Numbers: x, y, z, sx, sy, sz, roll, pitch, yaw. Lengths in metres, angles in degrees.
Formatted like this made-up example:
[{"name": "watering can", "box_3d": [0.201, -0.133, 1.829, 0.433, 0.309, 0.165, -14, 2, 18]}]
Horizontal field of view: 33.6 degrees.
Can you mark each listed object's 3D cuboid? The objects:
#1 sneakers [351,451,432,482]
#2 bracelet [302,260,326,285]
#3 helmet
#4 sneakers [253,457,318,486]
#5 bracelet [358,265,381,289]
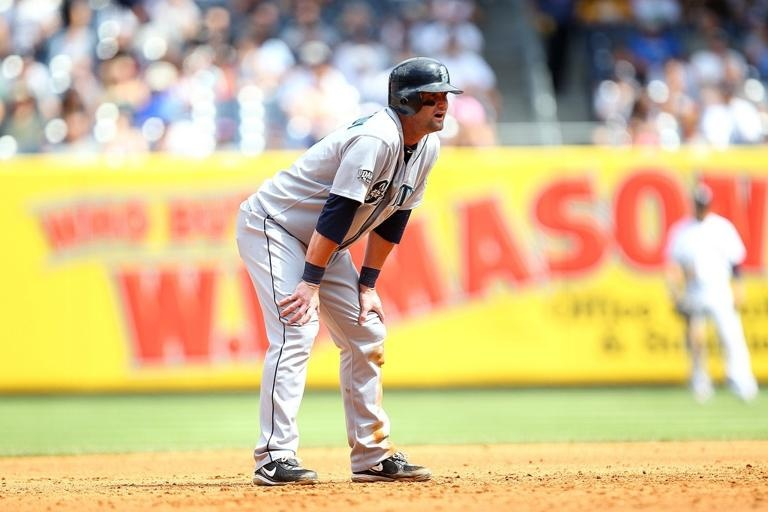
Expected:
[{"name": "sneakers", "box_3d": [0.061, 1.789, 10.856, 0.690, 0.276, 0.236, -1, -5, 0]}, {"name": "bracelet", "box_3d": [-0.585, 0.147, 10.510, 0.181, 0.181, 0.185, 17, 9, 9]}, {"name": "helmet", "box_3d": [0.298, -1.382, 10.497, 0.556, 0.405, 0.462, 1, 3, 31]}, {"name": "sneakers", "box_3d": [-0.825, 1.772, 10.475, 0.535, 0.239, 0.211, -1, -4, 6]}, {"name": "bracelet", "box_3d": [-0.135, 0.180, 10.854, 0.183, 0.179, 0.172, 18, -6, 8]}]
